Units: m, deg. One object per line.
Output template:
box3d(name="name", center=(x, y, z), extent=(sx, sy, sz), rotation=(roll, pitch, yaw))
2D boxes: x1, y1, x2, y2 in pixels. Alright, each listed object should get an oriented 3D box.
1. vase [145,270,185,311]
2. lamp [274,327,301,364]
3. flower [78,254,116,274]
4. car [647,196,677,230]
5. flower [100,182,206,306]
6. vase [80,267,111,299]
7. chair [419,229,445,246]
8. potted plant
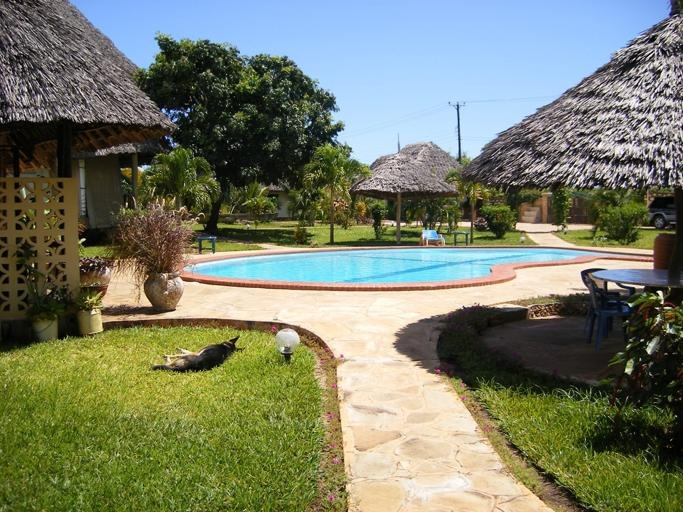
box3d(name="vase", center=(-3.271, 0.650, 10.342), extent=(0.724, 0.591, 0.666), rotation=(2, 6, 18))
box3d(name="lamp", center=(-0.704, 1.193, 7.653), extent=(0.400, 0.503, 0.403), rotation=(0, 2, 2))
box3d(name="flower", center=(-4.601, 0.159, 10.599), extent=(0.499, 0.186, 0.506), rotation=(1, -4, -11))
box3d(name="car", center=(16.325, -2.135, 28.898), extent=(1.232, 1.827, 2.656), rotation=(6, 13, 27))
box3d(name="flower", center=(-3.335, 0.069, 10.144), extent=(1.352, 1.965, 0.526), rotation=(-5, 13, -20))
box3d(name="vase", center=(-4.517, 0.486, 10.325), extent=(0.578, 0.427, 0.588), rotation=(1, -4, -8))
box3d(name="chair", center=(4.324, -0.863, 27.369), extent=(0.948, 0.659, 0.903), rotation=(-1, 3, -16))
box3d(name="potted plant", center=(-4.403, 0.854, 9.077), extent=(1.066, 0.699, 0.865), rotation=(-1, 0, -26))
